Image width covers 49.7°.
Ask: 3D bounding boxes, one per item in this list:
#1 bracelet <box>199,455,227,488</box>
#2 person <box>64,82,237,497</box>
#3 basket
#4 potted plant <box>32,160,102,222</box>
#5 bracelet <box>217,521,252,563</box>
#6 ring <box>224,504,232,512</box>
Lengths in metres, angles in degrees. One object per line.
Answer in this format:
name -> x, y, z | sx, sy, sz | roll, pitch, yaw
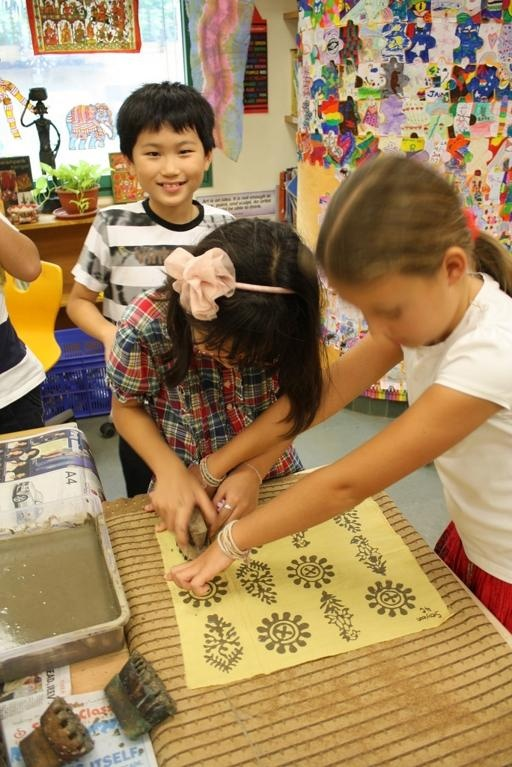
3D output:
bracelet -> -0.078, 0.164, 1.039 | 0.018, 0.046, 0.050 | -32, 50, 33
person -> -0.270, -0.132, 1.591 | 0.550, 1.310, 0.421 | 3, 11, -2
basket -> -0.917, -0.087, 2.886 | 0.426, 0.216, 0.663 | -2, 19, -10
potted plant -> -1.012, -1.080, 3.029 | 0.385, 0.266, 0.361 | -12, 34, -22
bracelet -> -0.029, 0.234, 0.813 | 0.025, 0.052, 0.054 | -41, 25, 18
ring -> -0.050, 0.218, 0.982 | 0.013, 0.009, 0.013 | -36, 13, 10
